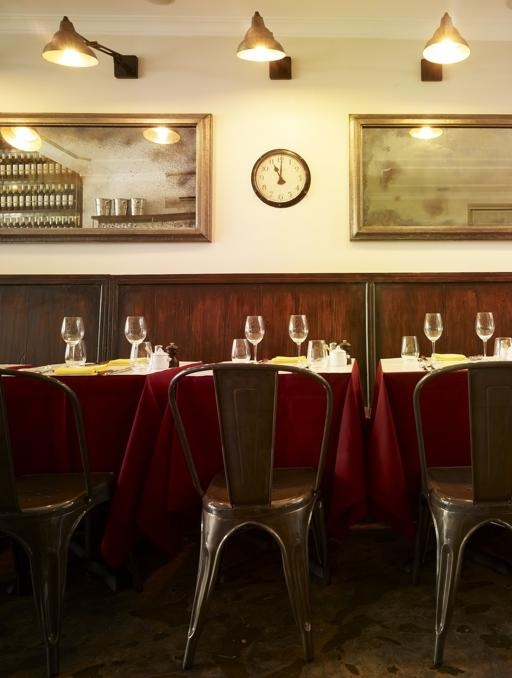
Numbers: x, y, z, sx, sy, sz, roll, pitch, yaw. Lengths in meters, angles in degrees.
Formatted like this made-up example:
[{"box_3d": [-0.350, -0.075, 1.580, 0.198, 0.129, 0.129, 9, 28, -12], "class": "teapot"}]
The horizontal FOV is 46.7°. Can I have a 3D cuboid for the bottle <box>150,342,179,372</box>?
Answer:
[{"box_3d": [-0.344, 0.066, 2.272, 0.085, 0.123, 0.133, 1, -13, -4], "class": "bottle"}]

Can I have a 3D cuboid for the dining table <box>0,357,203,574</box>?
[{"box_3d": [-0.490, 0.382, 2.013, 0.551, 0.469, 0.589, -2, 1, -3], "class": "dining table"}]

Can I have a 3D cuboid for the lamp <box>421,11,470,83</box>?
[{"box_3d": [0.856, -1.412, 2.776, 0.216, 0.257, 0.178, 4, -5, 13], "class": "lamp"}]

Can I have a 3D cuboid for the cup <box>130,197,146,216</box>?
[{"box_3d": [-0.719, -0.812, 3.602, 0.084, 0.105, 0.090, 3, 7, 0], "class": "cup"}]

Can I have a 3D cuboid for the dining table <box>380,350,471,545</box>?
[{"box_3d": [0.505, 0.340, 1.867, 0.393, 0.555, 0.425, -1, -2, 2], "class": "dining table"}]

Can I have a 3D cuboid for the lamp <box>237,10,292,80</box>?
[{"box_3d": [0.015, -1.460, 2.819, 0.174, 0.236, 0.215, -4, 4, 6], "class": "lamp"}]

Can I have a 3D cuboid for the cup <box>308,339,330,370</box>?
[{"box_3d": [0.224, 0.062, 2.200, 0.087, 0.136, 0.091, -2, 1, 0], "class": "cup"}]

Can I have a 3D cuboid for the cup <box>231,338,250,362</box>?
[{"box_3d": [-0.060, 0.041, 2.179, 0.067, 0.096, 0.092, 0, -6, -3], "class": "cup"}]

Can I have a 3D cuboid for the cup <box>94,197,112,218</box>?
[{"box_3d": [-0.927, -0.801, 3.593, 0.101, 0.103, 0.086, 4, 3, 19], "class": "cup"}]

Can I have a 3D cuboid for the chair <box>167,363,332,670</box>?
[{"box_3d": [-0.013, 0.423, 1.673, 0.438, 0.779, 0.448, -1, 6, 1], "class": "chair"}]

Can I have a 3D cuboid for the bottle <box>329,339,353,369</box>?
[{"box_3d": [0.314, 0.057, 2.262, 0.092, 0.110, 0.120, -1, -7, 3], "class": "bottle"}]

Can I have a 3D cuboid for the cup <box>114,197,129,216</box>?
[{"box_3d": [-0.821, -0.809, 3.597, 0.091, 0.097, 0.081, 3, 3, 13], "class": "cup"}]
